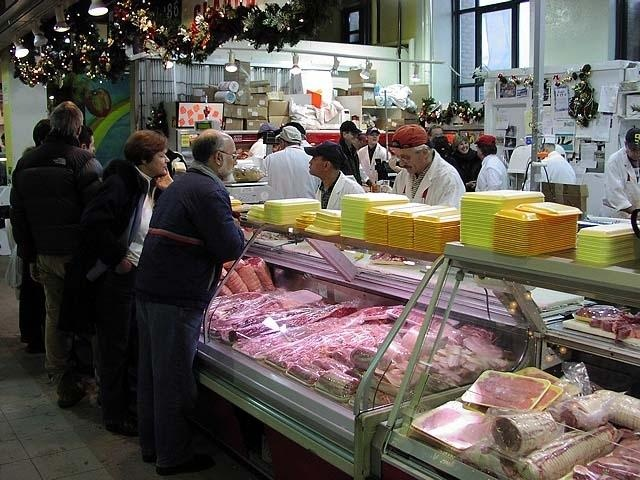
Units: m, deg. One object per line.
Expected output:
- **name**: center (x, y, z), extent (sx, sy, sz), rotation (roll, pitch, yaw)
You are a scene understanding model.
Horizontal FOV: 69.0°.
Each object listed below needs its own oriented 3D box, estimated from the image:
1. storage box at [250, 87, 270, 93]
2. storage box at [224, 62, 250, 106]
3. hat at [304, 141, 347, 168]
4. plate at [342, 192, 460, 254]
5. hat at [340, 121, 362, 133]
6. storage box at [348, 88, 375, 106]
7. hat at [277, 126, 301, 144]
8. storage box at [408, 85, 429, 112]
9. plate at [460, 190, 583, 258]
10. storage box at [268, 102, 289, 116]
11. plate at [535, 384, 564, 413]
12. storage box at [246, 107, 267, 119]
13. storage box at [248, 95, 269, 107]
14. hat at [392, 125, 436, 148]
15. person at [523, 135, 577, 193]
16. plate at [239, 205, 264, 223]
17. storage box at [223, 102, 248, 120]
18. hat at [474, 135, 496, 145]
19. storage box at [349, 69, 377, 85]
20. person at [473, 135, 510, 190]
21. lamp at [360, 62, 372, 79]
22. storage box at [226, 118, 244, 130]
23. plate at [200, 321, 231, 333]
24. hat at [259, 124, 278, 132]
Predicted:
- **storage box**: center (-1.146, -2.859, 8.916), extent (0.404, 0.118, 0.093), rotation (2, 10, 23)
- **storage box**: center (-1.525, -2.864, 8.608), extent (0.303, 0.957, 0.927), rotation (-2, 4, -9)
- **hat**: center (0.046, -0.687, 3.561), extent (0.270, 0.145, 0.176), rotation (21, 27, -6)
- **plate**: center (0.399, -0.096, 2.201), extent (0.261, 0.224, 0.658), rotation (-9, 12, -38)
- **hat**: center (0.418, -1.510, 6.236), extent (0.232, 0.139, 0.173), rotation (-4, 14, 2)
- **storage box**: center (1.026, -3.299, 10.704), extent (0.440, 0.276, 0.431), rotation (-4, 10, -30)
- **hat**: center (-0.353, -1.220, 5.438), extent (0.168, 0.109, 0.234), rotation (-19, 31, -36)
- **storage box**: center (2.518, -3.595, 11.690), extent (0.419, 0.690, 0.530), rotation (-4, 10, -15)
- **plate**: center (0.683, -0.061, 1.683), extent (0.234, 0.155, 0.335), rotation (-1, 6, -20)
- **storage box**: center (-0.818, -2.587, 9.198), extent (0.311, 0.197, 0.311), rotation (-2, 14, -10)
- **plate**: center (0.865, 0.593, 1.759), extent (0.108, 0.019, 0.064), rotation (-41, 16, -19)
- **storage box**: center (-1.211, -2.432, 8.891), extent (0.254, 0.162, 0.257), rotation (-1, 7, -10)
- **storage box**: center (-1.180, -2.660, 8.953), extent (0.245, 0.162, 0.252), rotation (0, 8, 5)
- **hat**: center (0.643, -0.729, 3.256), extent (0.216, 0.117, 0.153), rotation (-10, 18, -17)
- **person**: center (3.132, -0.921, 6.449), extent (0.418, 0.863, 0.437), rotation (-11, 28, -24)
- **plate**: center (-0.464, -0.177, 3.182), extent (0.150, 0.066, 0.185), rotation (10, 11, 33)
- **storage box**: center (-1.564, -2.401, 8.673), extent (0.424, 0.239, 0.207), rotation (1, 3, -21)
- **hat**: center (2.417, -1.456, 6.778), extent (0.172, 0.095, 0.234), rotation (-5, 9, -18)
- **storage box**: center (0.948, -3.724, 10.689), extent (0.480, 0.304, 0.480), rotation (4, 10, 26)
- **person**: center (2.502, -1.132, 6.749), extent (0.458, 0.804, 1.151), rotation (2, 10, 21)
- **lamp**: center (0.993, -3.707, 10.160), extent (0.224, 0.369, 0.727), rotation (-1, 10, 5)
- **storage box**: center (-1.619, -2.178, 8.739), extent (0.227, 0.177, 0.231), rotation (1, 7, 10)
- **plate**: center (-0.659, 0.549, 2.949), extent (0.092, 0.024, 0.095), rotation (4, 2, 27)
- **hat**: center (-0.782, -1.659, 6.877), extent (0.268, 0.126, 0.335), rotation (-2, 8, -19)
